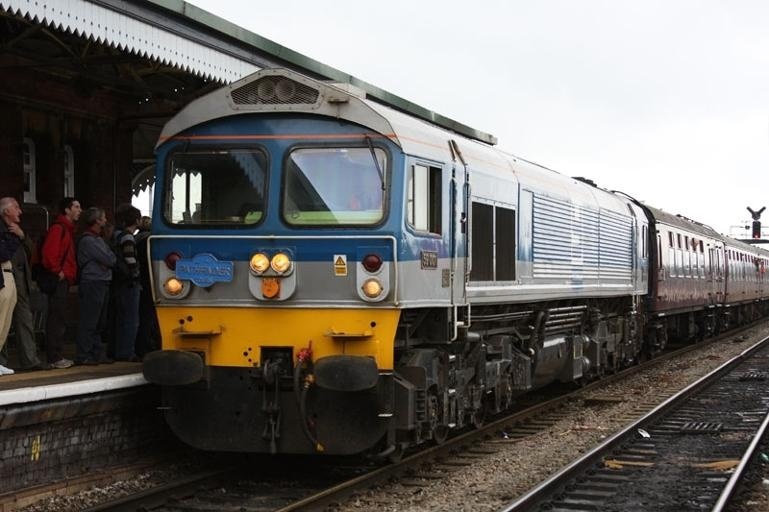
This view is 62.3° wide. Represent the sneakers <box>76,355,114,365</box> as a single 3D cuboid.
[{"bbox_3d":[-4.399,1.574,9.651,0.357,0.162,0.124,-3,-4,4],"label":"sneakers"}]

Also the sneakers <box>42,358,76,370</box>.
[{"bbox_3d":[-4.739,1.571,9.315,0.355,0.113,0.281,-1,-3,-11],"label":"sneakers"}]

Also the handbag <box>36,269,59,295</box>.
[{"bbox_3d":[-4.938,0.368,9.315,0.400,0.388,0.166,-2,-3,15],"label":"handbag"}]
